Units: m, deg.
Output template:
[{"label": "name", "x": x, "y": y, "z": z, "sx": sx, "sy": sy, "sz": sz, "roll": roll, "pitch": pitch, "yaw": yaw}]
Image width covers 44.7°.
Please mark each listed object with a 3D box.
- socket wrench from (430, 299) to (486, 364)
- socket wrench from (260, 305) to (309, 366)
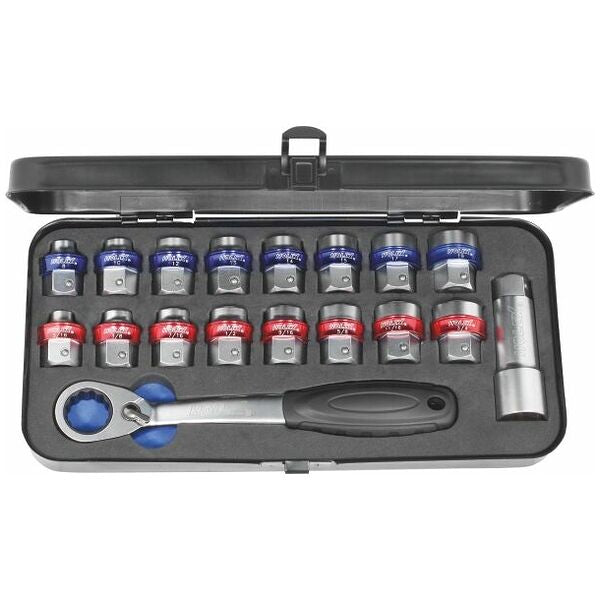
[{"label": "socket wrench", "x": 0.752, "y": 0.145, "z": 3.392, "sx": 0.272, "sy": 0.299, "sz": 0.209, "roll": -12, "pitch": 16, "yaw": 3}, {"label": "socket wrench", "x": -0.061, "y": 0.166, "z": 3.429, "sx": 0.254, "sy": 0.234, "sz": 0.211, "roll": 3, "pitch": -12, "yaw": -15}]
